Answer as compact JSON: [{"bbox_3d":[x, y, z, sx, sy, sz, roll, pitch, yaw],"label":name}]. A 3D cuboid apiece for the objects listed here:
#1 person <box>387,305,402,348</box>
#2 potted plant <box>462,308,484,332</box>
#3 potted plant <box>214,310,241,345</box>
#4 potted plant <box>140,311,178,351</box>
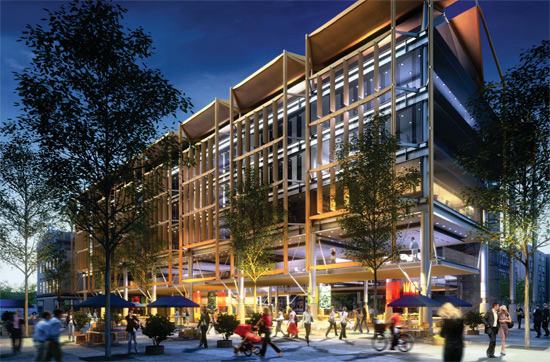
[{"bbox_3d":[7.552,9.424,35.890,0.644,2.231,1.031,1,-19,-8],"label":"person"},{"bbox_3d":[16.263,11.567,46.672,1.735,1.982,1.514,7,11,35],"label":"potted plant"},{"bbox_3d":[-3.307,10.205,39.259,1.974,2.196,2.102,12,-28,-21],"label":"potted plant"},{"bbox_3d":[-7.797,10.100,37.804,2.547,2.656,2.188,2,-17,-8],"label":"potted plant"}]
